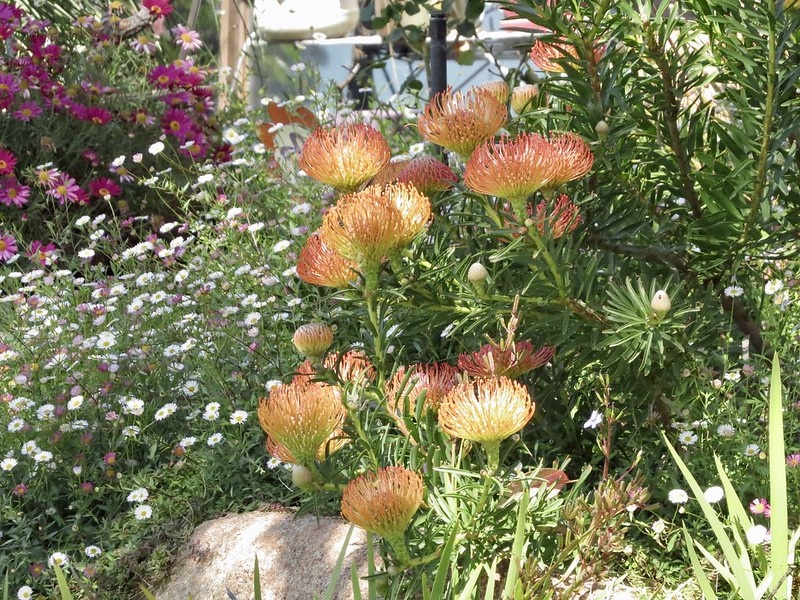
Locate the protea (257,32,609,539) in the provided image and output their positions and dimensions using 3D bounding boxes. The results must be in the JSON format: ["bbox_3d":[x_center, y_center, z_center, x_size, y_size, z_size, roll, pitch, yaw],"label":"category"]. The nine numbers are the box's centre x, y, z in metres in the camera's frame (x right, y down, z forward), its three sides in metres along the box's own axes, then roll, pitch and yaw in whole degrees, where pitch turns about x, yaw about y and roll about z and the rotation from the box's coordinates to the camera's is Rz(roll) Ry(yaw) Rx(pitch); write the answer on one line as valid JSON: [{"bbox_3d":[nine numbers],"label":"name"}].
[{"bbox_3d":[0.101,0.100,2.674,0.749,0.952,0.878,-2,41,12],"label":"protea"}]
